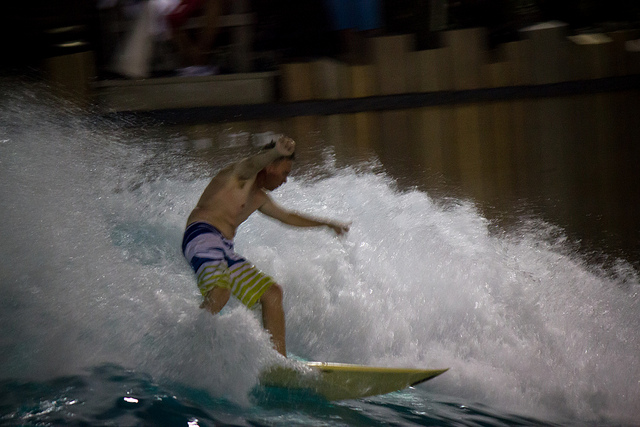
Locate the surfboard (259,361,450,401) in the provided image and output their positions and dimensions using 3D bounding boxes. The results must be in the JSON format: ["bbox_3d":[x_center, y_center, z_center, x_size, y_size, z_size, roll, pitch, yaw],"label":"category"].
[{"bbox_3d":[0.276,1.470,4.981,1.600,0.330,0.225,0,17,-6],"label":"surfboard"}]
